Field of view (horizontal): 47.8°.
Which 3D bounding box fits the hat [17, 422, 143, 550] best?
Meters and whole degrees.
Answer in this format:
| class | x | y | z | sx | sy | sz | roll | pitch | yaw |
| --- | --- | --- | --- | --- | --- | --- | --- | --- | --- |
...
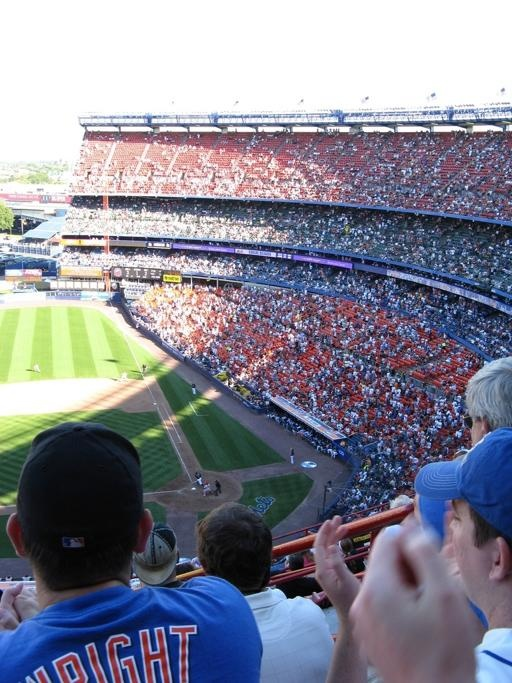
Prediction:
| class | x | y | z | sx | sy | sz | roll | pitch | yaw |
| --- | --- | --- | --- | --- | --- | --- | --- | --- | --- |
| hat | -0.605 | 0.393 | 1.982 | 0.434 | 0.262 | 0.522 | -4 | 16 | -26 |
